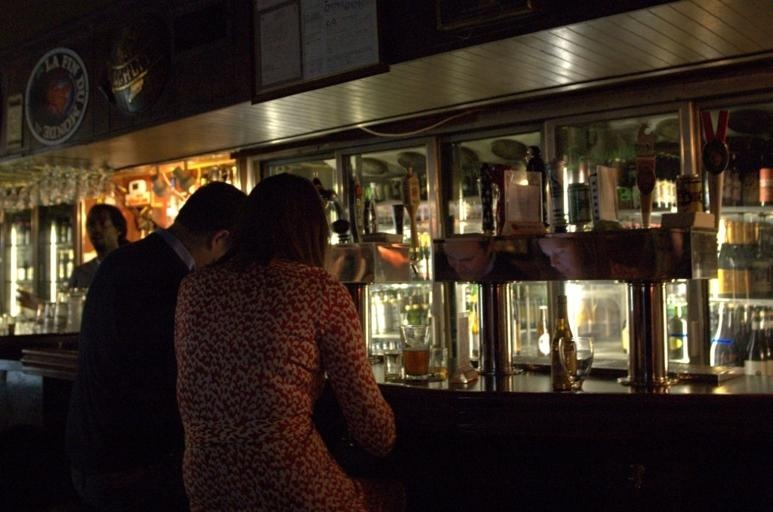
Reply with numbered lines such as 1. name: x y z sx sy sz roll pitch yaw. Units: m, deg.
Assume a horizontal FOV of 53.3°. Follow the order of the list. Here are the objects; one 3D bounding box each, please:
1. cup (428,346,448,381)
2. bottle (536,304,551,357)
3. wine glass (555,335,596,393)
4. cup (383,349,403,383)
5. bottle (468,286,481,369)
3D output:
1. cup: 0.238 0.565 4.015 0.145 0.154 0.135 0 -7 0
2. bottle: 1.128 0.560 5.588 0.109 0.421 0.111 -7 15 2
3. wine glass: 0.880 0.506 3.648 0.217 0.239 0.131 1 -4 -30
4. cup: 0.033 0.558 3.927 0.122 0.158 0.123 1 -4 0
5. bottle: 0.686 0.558 6.015 0.137 0.692 0.129 -2 12 0
